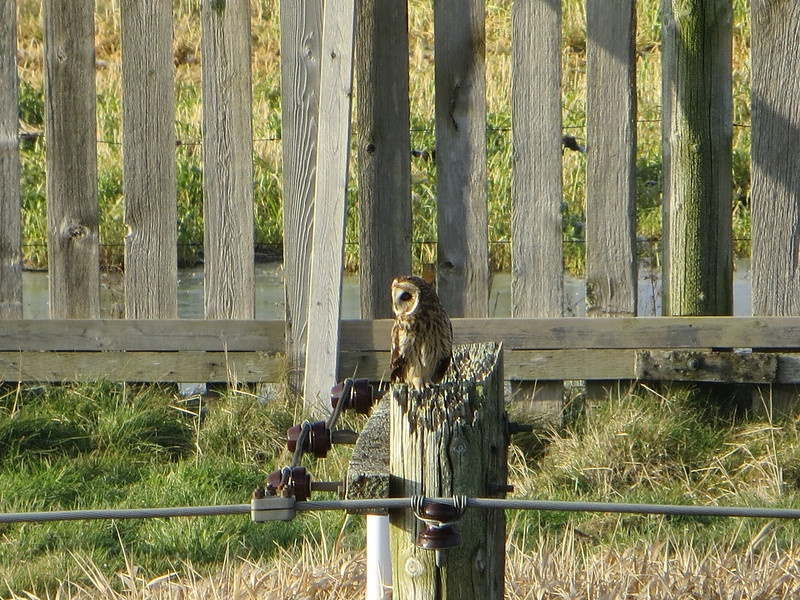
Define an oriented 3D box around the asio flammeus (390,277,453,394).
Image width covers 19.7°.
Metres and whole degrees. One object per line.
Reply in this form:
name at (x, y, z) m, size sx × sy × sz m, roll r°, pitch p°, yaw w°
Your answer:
asio flammeus at (0.107, 0.214, 13.635) m, size 0.327 × 0.679 × 0.468 m, roll -6°, pitch -2°, yaw 29°
